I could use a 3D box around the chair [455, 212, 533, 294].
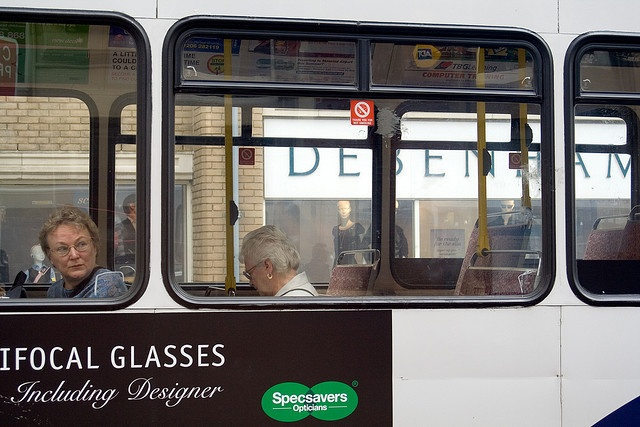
[{"bbox_3d":[1.316,0.319,7.805,0.388,0.632,0.384,4,9,1],"label":"chair"}]

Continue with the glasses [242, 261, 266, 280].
[{"bbox_3d":[-0.445,0.394,7.599,0.036,0.139,0.132,33,-14,7],"label":"glasses"}]

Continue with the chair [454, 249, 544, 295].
[{"bbox_3d":[1.249,0.445,7.656,0.539,0.327,0.191,0,-9,30],"label":"chair"}]
